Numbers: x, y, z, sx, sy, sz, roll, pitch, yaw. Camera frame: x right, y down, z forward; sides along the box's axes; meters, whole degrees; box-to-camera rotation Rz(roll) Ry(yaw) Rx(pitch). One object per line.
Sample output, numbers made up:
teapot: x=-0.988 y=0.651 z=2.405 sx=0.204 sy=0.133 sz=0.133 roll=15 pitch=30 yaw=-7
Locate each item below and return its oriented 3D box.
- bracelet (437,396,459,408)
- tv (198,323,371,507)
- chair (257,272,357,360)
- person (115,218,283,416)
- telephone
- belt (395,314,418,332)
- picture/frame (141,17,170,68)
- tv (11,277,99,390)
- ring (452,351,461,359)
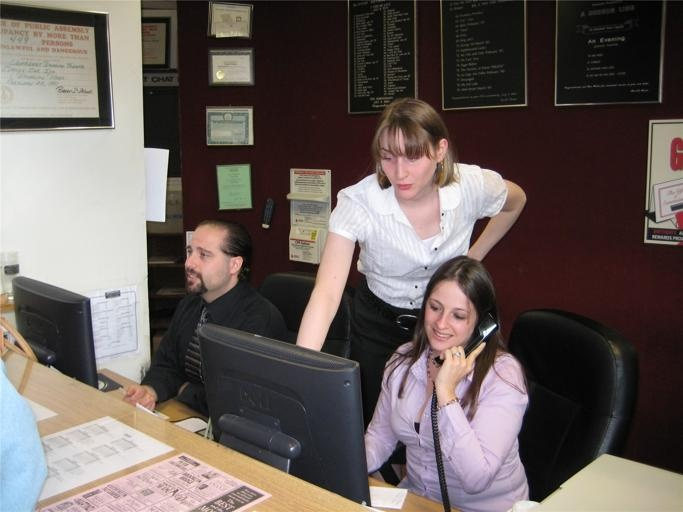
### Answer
bracelet: x=0.338 y=0.461 z=1.596 sx=0.039 sy=0.011 sz=0.035 roll=-21 pitch=3 yaw=-20
tv: x=-0.144 y=0.377 z=1.147 sx=0.517 sy=0.417 sz=0.150 roll=13 pitch=23 yaw=32
chair: x=-0.198 y=0.322 z=2.604 sx=0.364 sy=0.570 sz=0.454 roll=1 pitch=-9 yaw=9
person: x=-0.611 y=0.292 z=2.293 sx=0.543 sy=0.868 sz=0.599 roll=9 pitch=7 yaw=19
telephone: x=0.459 y=0.270 z=1.726 sx=0.325 sy=0.086 sz=0.087 roll=-23 pitch=-13 yaw=-34
belt: x=0.267 y=0.274 z=2.062 sx=0.065 sy=0.035 sz=0.068 roll=7 pitch=23 yaw=6
picture/frame: x=-1.651 y=-1.909 z=4.483 sx=0.263 sy=0.410 sz=0.143 roll=0 pitch=9 yaw=-11
tv: x=-0.985 y=0.271 z=1.659 sx=0.367 sy=0.350 sz=0.131 roll=15 pitch=20 yaw=25
ring: x=0.378 y=0.325 z=1.645 sx=0.016 sy=0.011 sz=0.022 roll=0 pitch=0 yaw=-29
